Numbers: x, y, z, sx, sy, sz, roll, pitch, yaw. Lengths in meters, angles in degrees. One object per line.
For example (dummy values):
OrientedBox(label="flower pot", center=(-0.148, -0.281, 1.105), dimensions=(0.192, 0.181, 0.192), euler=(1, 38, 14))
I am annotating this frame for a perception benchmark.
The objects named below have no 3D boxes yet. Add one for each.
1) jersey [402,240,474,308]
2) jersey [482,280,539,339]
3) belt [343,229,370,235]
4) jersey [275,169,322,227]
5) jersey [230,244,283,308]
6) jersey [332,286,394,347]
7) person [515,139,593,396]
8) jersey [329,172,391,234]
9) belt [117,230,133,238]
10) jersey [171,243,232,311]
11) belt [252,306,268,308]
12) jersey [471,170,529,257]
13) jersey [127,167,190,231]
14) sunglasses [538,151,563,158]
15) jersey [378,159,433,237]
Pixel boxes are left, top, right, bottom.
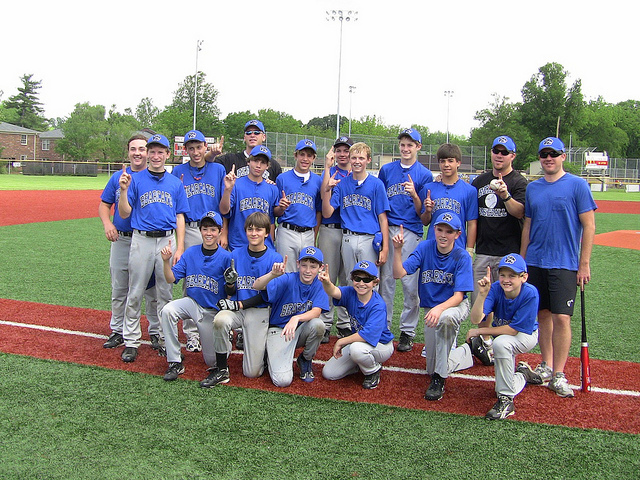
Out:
OrientedBox(label="jersey", center=(1.333, 0.420, 6.816), dimensions=(0.812, 0.795, 0.427), euler=(6, 11, 10))
OrientedBox(label="jersey", center=(2.078, 0.760, 6.512), dimensions=(0.599, 0.568, 0.424), euler=(7, 1, 31))
OrientedBox(label="belt", center=(0.459, -0.110, 7.821), dimensions=(0.336, 0.059, 0.049), euler=(4, 5, 19))
OrientedBox(label="jersey", center=(-0.273, -0.555, 7.911), dimensions=(0.721, 0.764, 0.412), euler=(3, 13, -13))
OrientedBox(label="jersey", center=(-0.731, 0.434, 6.799), dimensions=(0.675, 0.709, 0.384), euler=(4, -5, 4))
OrientedBox(label="jersey", center=(0.429, 0.778, 6.781), dimensions=(0.693, 0.846, 0.586), euler=(2, 12, 2))
OrientedBox(label="person", center=(2.624, 0.256, 6.663), dimensions=(0.730, 2.766, 0.878), euler=(2, 5, -6))
OrientedBox(label="jersey", center=(0.523, -0.488, 7.963), dimensions=(0.876, 0.800, 0.462), euler=(1, 16, 9))
OrientedBox(label="belt", center=(-2.435, -0.086, 7.389), dimensions=(0.183, 0.080, 0.055), euler=(2, 5, -9))
OrientedBox(label="jersey", center=(-1.313, 0.442, 6.908), dimensions=(0.952, 0.802, 0.297), euler=(5, 2, 1))
OrientedBox(label="belt", center=(-0.687, 0.767, 6.837), dimensions=(0.166, 0.015, 0.016), euler=(1, 5, -19))
OrientedBox(label="jersey", center=(2.252, -0.347, 7.481), dimensions=(0.754, 1.089, 0.428), euler=(5, 6, 34))
OrientedBox(label="jersey", center=(-2.029, -0.504, 7.313), dimensions=(0.874, 0.770, 0.364), euler=(2, 10, -29))
OrientedBox(label="sunglasses", center=(2.579, -0.959, 6.610), dimensions=(0.224, 0.071, 0.090), euler=(4, 5, 19))
OrientedBox(label="jersey", center=(1.230, -0.399, 8.259), dimensions=(0.779, 1.412, 0.508), euler=(11, 16, 38))
